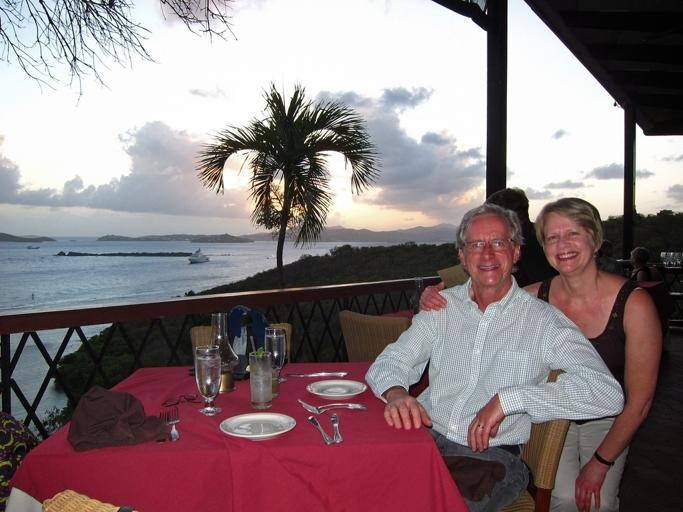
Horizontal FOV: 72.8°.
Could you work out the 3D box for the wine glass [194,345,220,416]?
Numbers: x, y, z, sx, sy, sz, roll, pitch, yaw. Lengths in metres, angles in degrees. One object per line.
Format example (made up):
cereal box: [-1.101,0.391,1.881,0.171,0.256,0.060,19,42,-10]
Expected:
wine glass: [-0.511,0.463,1.812,0.114,0.274,0.110,0,-1,-13]

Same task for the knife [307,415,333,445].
knife: [-0.073,0.605,1.647,0.033,0.014,0.196,-3,3,-10]

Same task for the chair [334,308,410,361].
chair: [0.208,0.467,2.862,0.355,0.374,0.342,3,2,-37]

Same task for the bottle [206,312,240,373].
bottle: [-0.554,0.395,2.117,0.155,0.289,0.151,2,7,0]
